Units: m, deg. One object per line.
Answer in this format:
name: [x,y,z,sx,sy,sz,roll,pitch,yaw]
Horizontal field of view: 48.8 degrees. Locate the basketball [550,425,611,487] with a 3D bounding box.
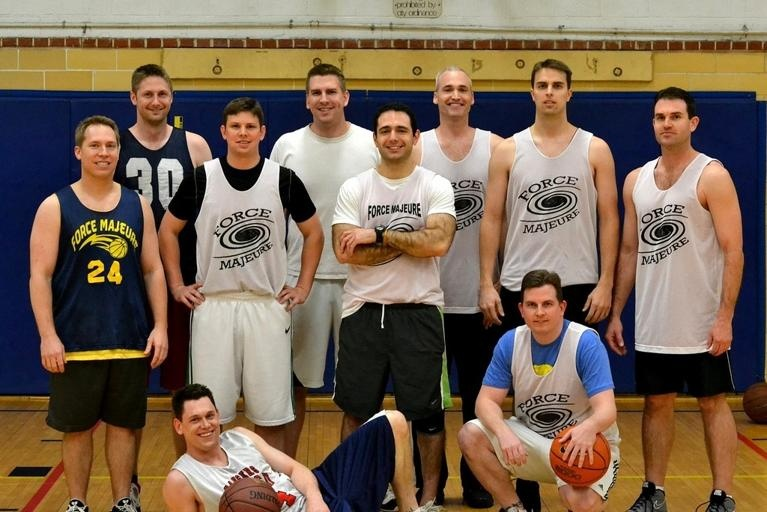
basketball: [1.287,1.336,5.637,0.364,0.385,0.362,12,13,8]

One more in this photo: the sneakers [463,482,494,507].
sneakers: [0.690,1.745,6.133,0.117,0.225,0.223,4,-17,-24]
